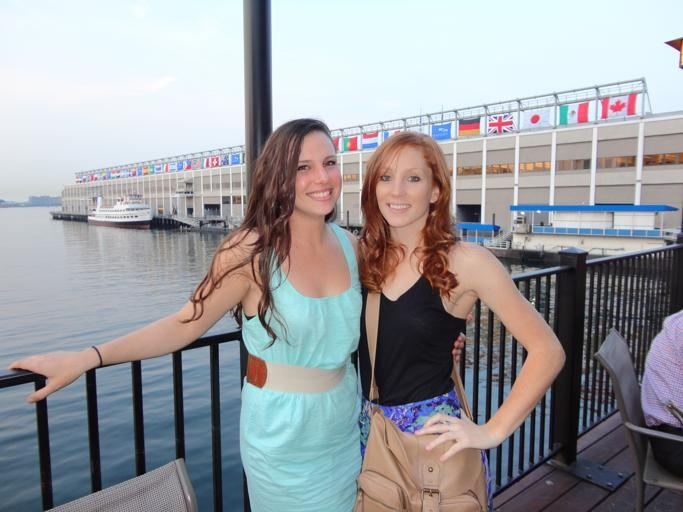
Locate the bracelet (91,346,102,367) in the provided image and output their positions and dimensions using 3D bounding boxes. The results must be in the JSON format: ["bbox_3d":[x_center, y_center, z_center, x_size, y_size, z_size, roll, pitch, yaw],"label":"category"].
[{"bbox_3d":[-1.055,0.429,2.106,0.039,0.093,0.156,-3,-10,-28],"label":"bracelet"}]
